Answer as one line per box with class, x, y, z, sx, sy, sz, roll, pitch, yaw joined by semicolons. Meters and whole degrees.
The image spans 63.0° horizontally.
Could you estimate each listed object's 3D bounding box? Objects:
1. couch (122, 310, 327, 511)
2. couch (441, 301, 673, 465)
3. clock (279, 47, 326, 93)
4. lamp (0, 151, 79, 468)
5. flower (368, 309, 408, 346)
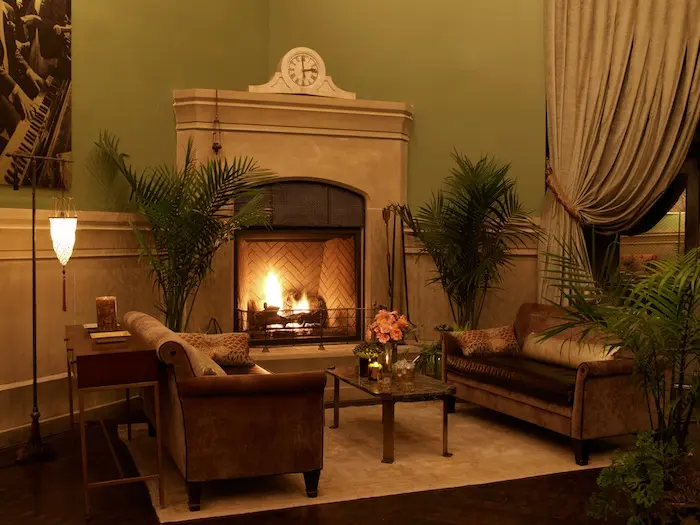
couch;-0.809;0.575;4.089;0.883;0.982;1.988;-1;0;-20
couch;1.841;1.043;5.458;0.973;1.137;2.163;2;-1;-20
clock;-0.533;-2.207;6.579;0.468;0.528;0.091;4;38;-2
lamp;-2.818;0.239;5.250;0.551;2.625;1.780;-1;4;-27
flower;0.339;0.579;5.084;0.325;0.318;0.349;1;3;2
